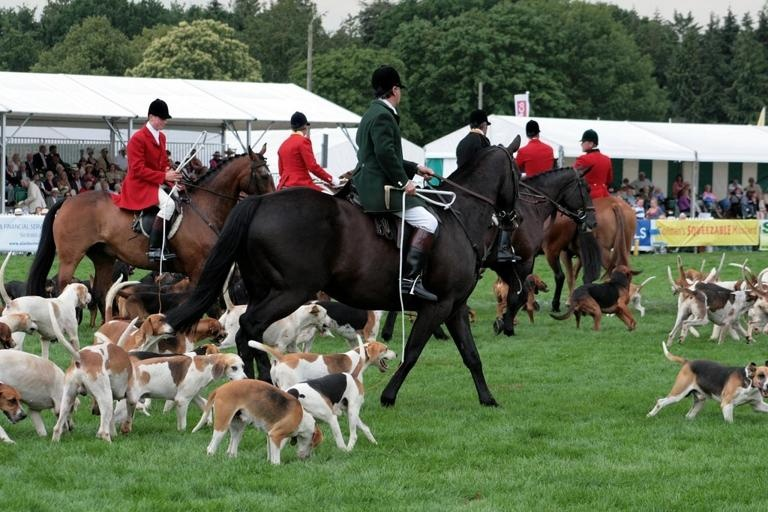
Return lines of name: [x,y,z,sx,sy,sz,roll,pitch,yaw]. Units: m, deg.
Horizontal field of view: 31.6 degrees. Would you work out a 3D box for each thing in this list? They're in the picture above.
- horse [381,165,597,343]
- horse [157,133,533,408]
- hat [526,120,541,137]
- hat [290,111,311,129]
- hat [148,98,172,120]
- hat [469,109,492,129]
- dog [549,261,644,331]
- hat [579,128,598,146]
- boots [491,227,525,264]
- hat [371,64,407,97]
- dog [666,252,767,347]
horse: [3.017,0.056,32.036,1.485,3.801,5.803,9,-12,-35]
horse: [-0.398,0.430,27.008,8.261,4.989,1.981,2,-1,-28]
hat: [3.552,-3.168,32.875,0.273,0.279,0.439,2,46,9]
hat: [-1.935,-3.152,30.897,0.330,0.322,0.442,-4,24,15]
hat: [-4.750,-3.142,28.743,0.537,0.356,0.404,3,15,8]
hat: [2.073,-3.054,29.861,0.353,0.301,0.478,10,39,22]
dog: [5.005,1.058,31.846,2.703,1.553,0.842,-6,1,-32]
hat: [5.116,-3.006,34.099,0.353,0.365,0.323,1,2,1]
boots: [2.618,-0.209,29.742,0.715,0.814,0.493,-2,5,-5]
hat: [0.093,-3.469,26.379,0.502,0.456,0.671,17,33,35]
dog: [7.179,1.034,30.347,1.899,1.859,0.885,1,2,-8]
